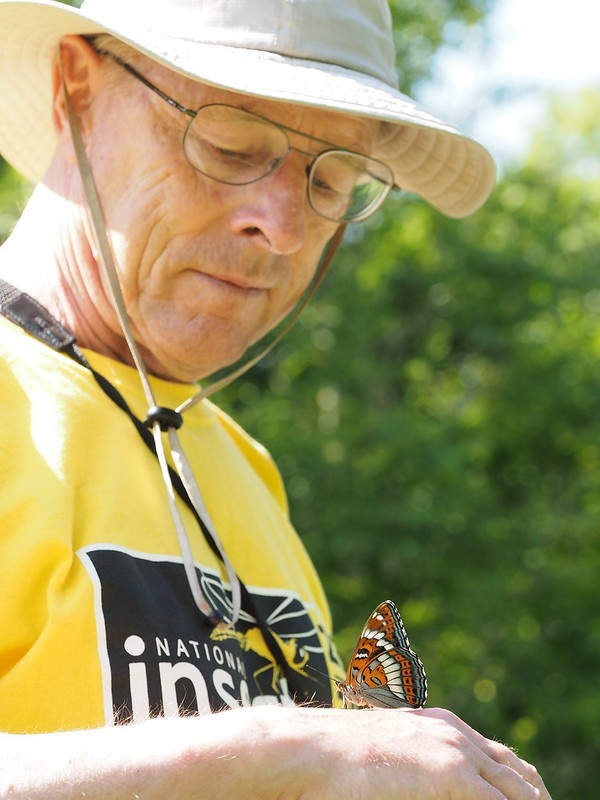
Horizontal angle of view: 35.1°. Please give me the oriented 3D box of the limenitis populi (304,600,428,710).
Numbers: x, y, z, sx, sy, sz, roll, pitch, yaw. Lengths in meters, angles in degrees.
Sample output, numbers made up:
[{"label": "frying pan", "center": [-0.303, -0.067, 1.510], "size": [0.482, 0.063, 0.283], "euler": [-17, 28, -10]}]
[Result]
[{"label": "limenitis populi", "center": [0.151, 0.466, 1.670], "size": [0.199, 0.175, 0.191], "euler": [22, 57, -10]}]
